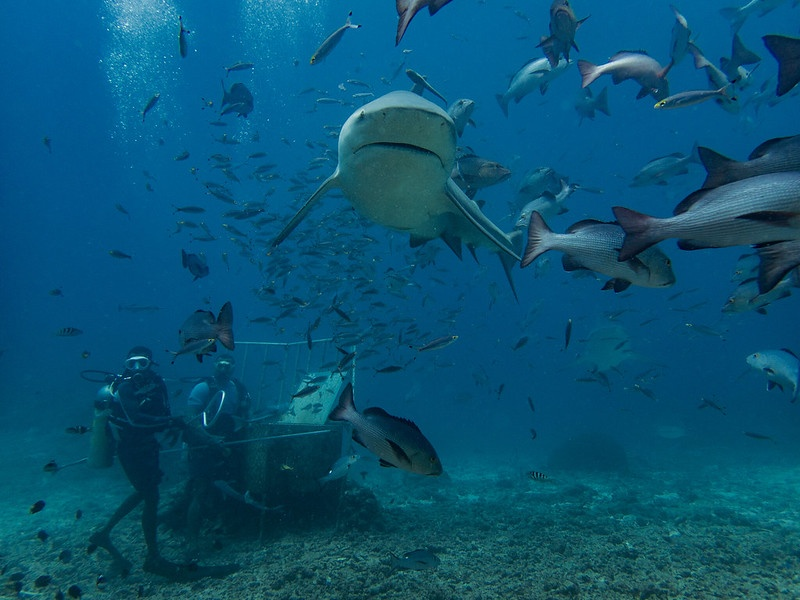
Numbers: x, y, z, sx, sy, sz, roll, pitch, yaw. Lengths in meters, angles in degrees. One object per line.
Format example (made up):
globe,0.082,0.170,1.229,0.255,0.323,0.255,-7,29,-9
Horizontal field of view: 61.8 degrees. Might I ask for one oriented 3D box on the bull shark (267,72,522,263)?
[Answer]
bull shark,0.348,-3.323,18.701,4.713,2.351,6.414,-3,-17,2
